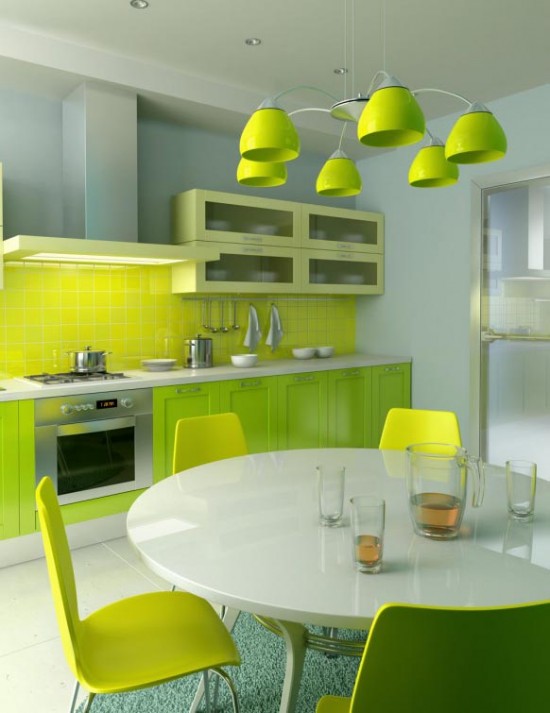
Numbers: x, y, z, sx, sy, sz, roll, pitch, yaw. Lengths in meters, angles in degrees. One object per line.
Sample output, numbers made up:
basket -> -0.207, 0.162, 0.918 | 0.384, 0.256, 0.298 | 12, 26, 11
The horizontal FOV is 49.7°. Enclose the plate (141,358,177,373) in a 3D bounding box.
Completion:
plate -> -0.716, 0.051, 3.651 | 0.216, 0.069, 0.302 | -2, 4, -12

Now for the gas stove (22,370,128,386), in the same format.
gas stove -> -1.049, 0.105, 3.147 | 0.498, 0.038, 0.491 | -3, 5, -28

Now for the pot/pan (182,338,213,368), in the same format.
pot/pan -> -0.483, -0.028, 3.822 | 0.167, 0.192, 0.272 | 0, 4, 6

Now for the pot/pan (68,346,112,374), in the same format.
pot/pan -> -1.009, 0.020, 3.215 | 0.143, 0.135, 0.182 | 0, -1, -11

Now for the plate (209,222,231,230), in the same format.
plate -> -0.345, -0.809, 3.660 | 0.013, 0.060, 0.165 | 3, 6, 44

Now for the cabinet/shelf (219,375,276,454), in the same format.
cabinet/shelf -> -0.183, 0.321, 3.761 | 0.350, 0.578, 0.368 | -9, 25, -19

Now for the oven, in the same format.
oven -> -0.988, 0.448, 3.125 | 0.595, 0.533, 0.390 | -3, 6, -32

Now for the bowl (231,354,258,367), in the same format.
bowl -> -0.199, 0.030, 3.847 | 0.158, 0.083, 0.168 | -1, 4, 0

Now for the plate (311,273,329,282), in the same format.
plate -> 0.313, -0.562, 4.282 | 0.080, 0.040, 0.079 | 0, -4, -30

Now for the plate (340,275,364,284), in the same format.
plate -> 0.604, -0.589, 4.545 | 0.095, 0.072, 0.100 | -1, 0, 43

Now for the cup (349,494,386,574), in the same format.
cup -> 0.181, 0.341, 1.167 | 0.066, 0.123, 0.135 | 0, 4, 8

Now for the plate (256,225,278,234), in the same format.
plate -> -0.056, -0.840, 3.930 | 0.011, 0.072, 0.218 | 3, 6, 44

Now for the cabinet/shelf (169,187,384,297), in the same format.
cabinet/shelf -> 0.108, -0.750, 4.204 | 1.540, 0.659, 0.295 | -2, 1, -30

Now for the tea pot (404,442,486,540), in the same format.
tea pot -> 0.384, 0.312, 1.299 | 0.123, 0.180, 0.186 | 6, -11, -33

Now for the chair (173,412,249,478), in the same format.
chair -> -0.264, 0.305, 2.313 | 0.253, 0.374, 0.241 | -2, 1, -26

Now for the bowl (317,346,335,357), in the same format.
bowl -> 0.374, -0.026, 4.461 | 0.121, 0.085, 0.131 | -1, 4, 0

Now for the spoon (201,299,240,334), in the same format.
spoon -> -0.371, -0.267, 4.085 | 0.303, 0.232, 0.032 | -5, 6, -45

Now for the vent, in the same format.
vent -> -0.894, -0.557, 3.193 | 1.089, 0.086, 0.497 | -4, 6, -41

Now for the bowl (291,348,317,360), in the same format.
bowl -> 0.227, -0.022, 4.436 | 0.169, 0.084, 0.341 | 0, 4, 8
